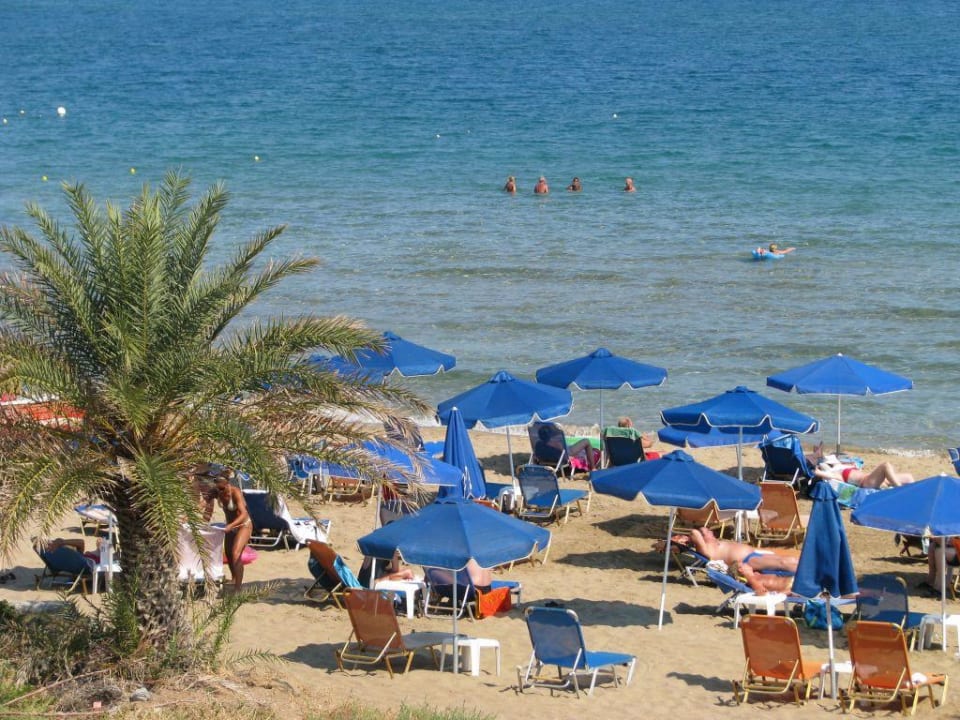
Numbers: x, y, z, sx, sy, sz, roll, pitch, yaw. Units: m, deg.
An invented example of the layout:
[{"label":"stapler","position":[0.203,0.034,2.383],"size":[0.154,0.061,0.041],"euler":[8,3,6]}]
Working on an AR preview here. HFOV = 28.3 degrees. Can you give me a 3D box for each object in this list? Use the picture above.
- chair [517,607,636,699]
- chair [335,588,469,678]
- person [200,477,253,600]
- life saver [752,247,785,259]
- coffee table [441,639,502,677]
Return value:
[{"label":"chair","position":[1.719,5.449,35.951],"size":[1.390,1.395,2.284],"euler":[1,1,34]},{"label":"chair","position":[-1.496,5.189,37.141],"size":[1.262,1.386,2.419],"euler":[4,2,32]},{"label":"person","position":[-4.987,3.419,38.166],"size":[1.035,2.192,0.902],"euler":[5,10,34]},{"label":"life saver","position":[9.928,-3.614,65.434],"size":[0.551,0.265,0.784],"euler":[9,10,36]},{"label":"coffee table","position":[-0.184,5.640,36.710],"size":[1.078,0.519,0.763],"euler":[-2,-6,32]}]
